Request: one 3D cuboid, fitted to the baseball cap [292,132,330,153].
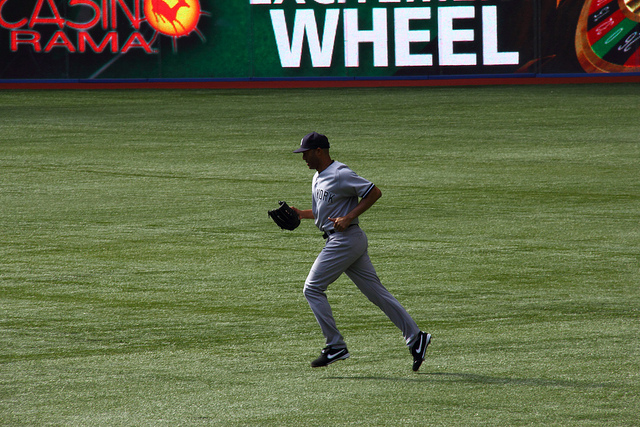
[{"bbox_3d":[-0.130,-1.039,20.554,0.488,0.207,0.274,-1,6,0],"label":"baseball cap"}]

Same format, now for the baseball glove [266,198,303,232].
[{"bbox_3d":[-0.629,-0.003,21.126,0.637,0.304,0.493,37,16,13],"label":"baseball glove"}]
